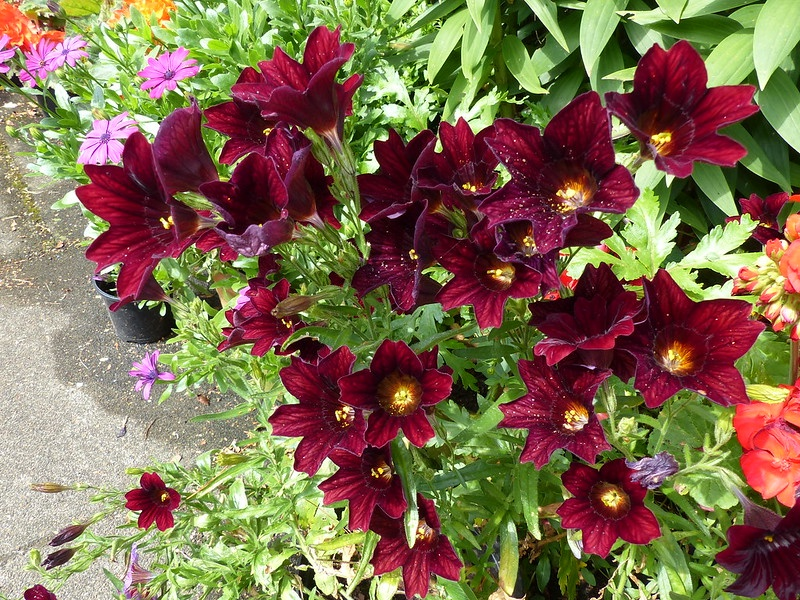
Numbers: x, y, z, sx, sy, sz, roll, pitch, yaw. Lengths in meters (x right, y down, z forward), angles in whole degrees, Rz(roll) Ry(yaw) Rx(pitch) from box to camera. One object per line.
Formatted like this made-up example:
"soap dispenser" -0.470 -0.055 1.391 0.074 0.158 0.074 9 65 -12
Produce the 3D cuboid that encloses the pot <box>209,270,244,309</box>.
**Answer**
"pot" -0.530 -0.040 1.874 0.088 0.104 0.099 -3 66 18

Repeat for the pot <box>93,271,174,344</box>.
"pot" -1.256 0.036 3.005 0.415 0.425 0.335 -5 92 -11
